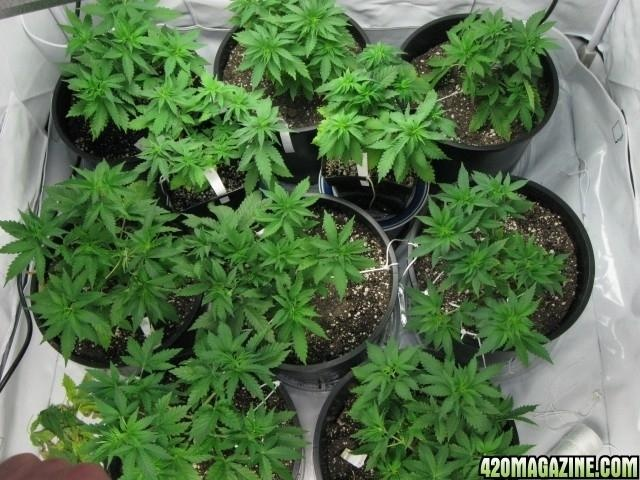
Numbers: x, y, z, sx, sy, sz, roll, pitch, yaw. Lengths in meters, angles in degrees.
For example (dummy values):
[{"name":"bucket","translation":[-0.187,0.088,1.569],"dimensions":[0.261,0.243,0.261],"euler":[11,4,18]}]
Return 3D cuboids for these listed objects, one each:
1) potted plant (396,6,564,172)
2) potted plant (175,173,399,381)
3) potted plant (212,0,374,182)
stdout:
[{"name":"potted plant","translation":[1.191,-0.980,3.928],"dimensions":[1.185,0.833,1.118],"euler":[-18,79,13]},{"name":"potted plant","translation":[0.174,0.288,3.588],"dimensions":[1.196,0.414,1.132],"euler":[-6,80,0]},{"name":"potted plant","translation":[-0.208,-0.922,3.787],"dimensions":[1.141,0.822,1.098],"euler":[-3,83,-4]}]
